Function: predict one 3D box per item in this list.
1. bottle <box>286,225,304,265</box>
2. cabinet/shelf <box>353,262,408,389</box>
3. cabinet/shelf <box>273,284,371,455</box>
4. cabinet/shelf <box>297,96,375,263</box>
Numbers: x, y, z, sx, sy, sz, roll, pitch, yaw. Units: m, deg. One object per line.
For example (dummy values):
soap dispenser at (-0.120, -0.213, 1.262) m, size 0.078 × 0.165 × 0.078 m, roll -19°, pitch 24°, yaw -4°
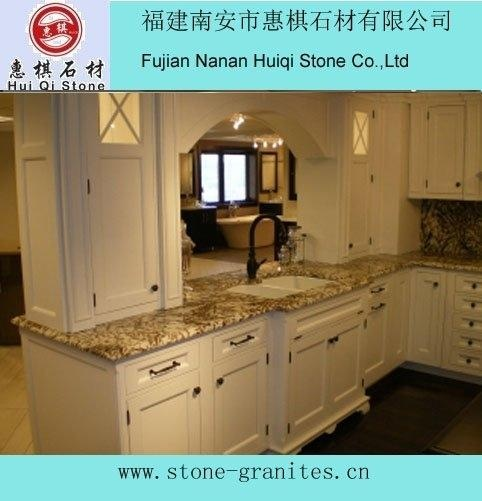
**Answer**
bottle at (0.430, -0.046, 3.498) m, size 0.118 × 0.304 × 0.476 m, roll 1°, pitch 9°, yaw 9°
cabinet/shelf at (1.031, 0.543, 3.339) m, size 0.438 × 0.833 × 0.794 m, roll 4°, pitch 10°, yaw 33°
cabinet/shelf at (0.474, 0.719, 2.658) m, size 0.403 × 0.830 × 0.823 m, roll 3°, pitch 8°, yaw 37°
cabinet/shelf at (0.771, -0.555, 3.555) m, size 0.632 × 1.275 × 0.425 m, roll 0°, pitch 8°, yaw 3°
